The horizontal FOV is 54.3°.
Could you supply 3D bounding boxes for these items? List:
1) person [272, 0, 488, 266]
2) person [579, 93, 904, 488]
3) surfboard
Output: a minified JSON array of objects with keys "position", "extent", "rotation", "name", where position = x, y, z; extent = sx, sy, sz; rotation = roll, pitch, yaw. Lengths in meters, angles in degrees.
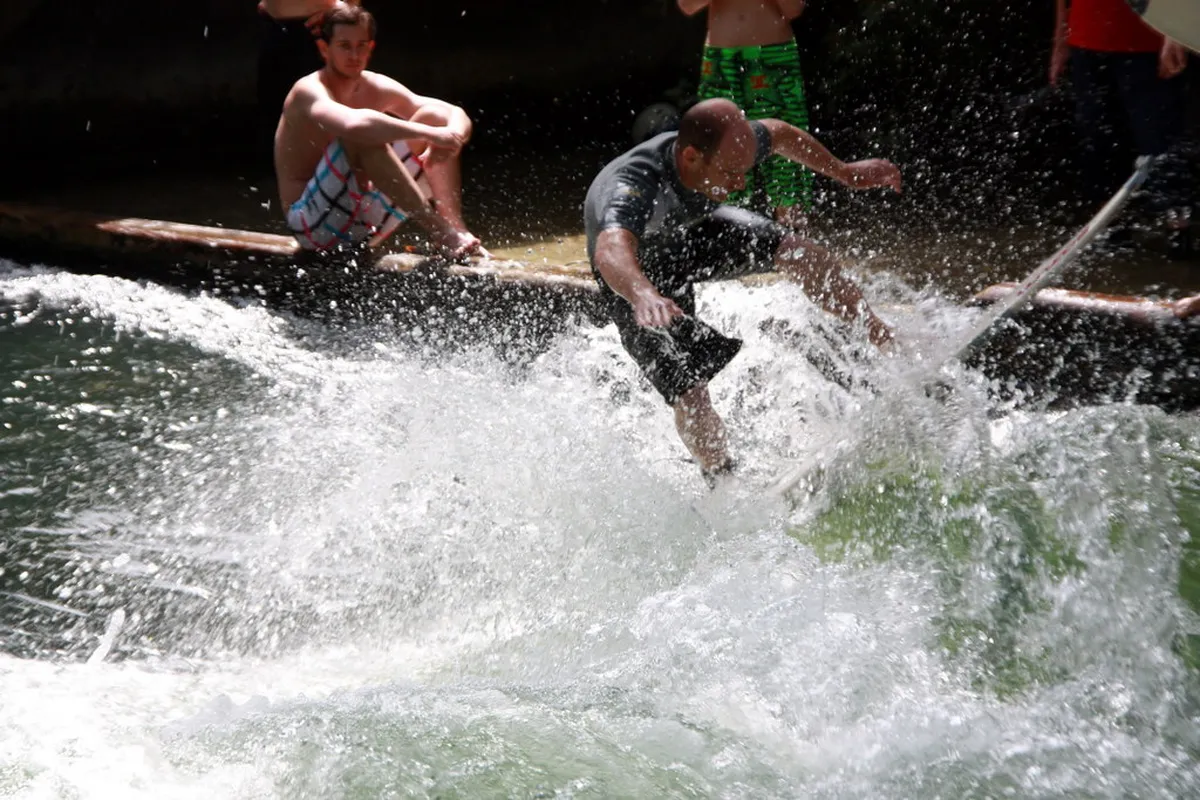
[{"position":[-1.074,-1.484,6.192],"extent":[1.327,1.310,1.061],"rotation":[12,26,25],"name":"person"},{"position":[0.480,-0.685,4.755],"extent":[0.762,1.203,1.021],"rotation":[7,65,-53],"name":"person"},{"position":[1.564,-0.287,4.939],"extent":[0.229,1.999,0.226],"rotation":[35,19,-18],"name":"surfboard"}]
